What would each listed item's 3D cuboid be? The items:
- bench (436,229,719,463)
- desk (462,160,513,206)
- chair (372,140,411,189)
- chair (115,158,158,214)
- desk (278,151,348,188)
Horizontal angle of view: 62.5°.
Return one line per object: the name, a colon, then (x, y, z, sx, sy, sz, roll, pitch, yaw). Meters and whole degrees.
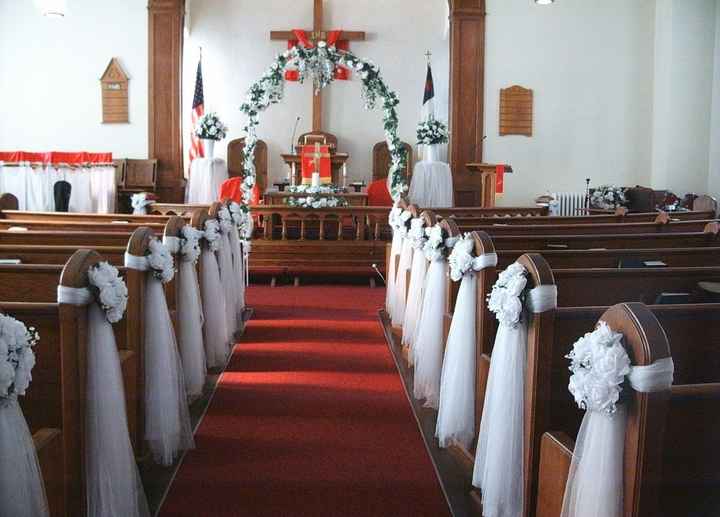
bench: (1.028, 0.440, 2.853, 1.218, 0.791, 0.528, -2, 7, -9)
desk: (1.953, -1.103, 9.123, 0.682, 0.873, 0.658, 8, 34, 22)
chair: (0.680, -1.935, 11.841, 0.855, 0.781, 0.700, 0, 13, -5)
chair: (-3.838, -1.267, 10.516, 0.761, 1.336, 0.853, 0, 1, -13)
desk: (-0.772, -1.517, 10.139, 1.085, 0.831, 0.678, -1, 2, -1)
